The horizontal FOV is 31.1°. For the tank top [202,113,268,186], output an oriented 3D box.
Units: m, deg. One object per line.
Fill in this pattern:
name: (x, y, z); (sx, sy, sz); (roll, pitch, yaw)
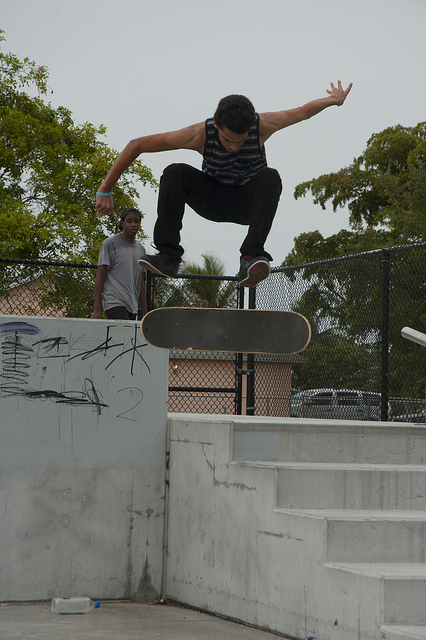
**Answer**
tank top: (0.133, -1.089, 4.886); (0.433, 0.331, 0.580); (17, -20, 5)

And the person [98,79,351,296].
person: (0.053, -0.971, 4.975); (1.374, 1.824, 0.910); (11, -23, -10)
